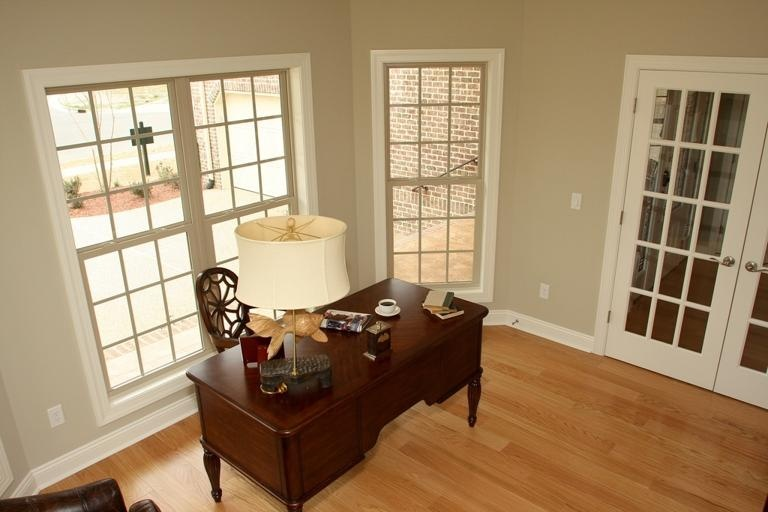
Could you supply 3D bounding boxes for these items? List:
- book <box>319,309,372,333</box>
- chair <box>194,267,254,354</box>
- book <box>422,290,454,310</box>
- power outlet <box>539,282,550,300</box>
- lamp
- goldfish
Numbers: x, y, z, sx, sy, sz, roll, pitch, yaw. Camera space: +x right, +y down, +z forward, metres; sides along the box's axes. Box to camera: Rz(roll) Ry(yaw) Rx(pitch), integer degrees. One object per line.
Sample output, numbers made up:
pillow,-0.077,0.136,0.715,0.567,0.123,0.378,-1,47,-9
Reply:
book,-0.295,0.494,4.139,0.251,0.057,0.187,6,21,17
chair,-1.353,0.455,4.819,0.547,0.898,0.502,18,23,30
book,0.434,0.349,4.332,0.166,0.033,0.156,7,34,24
power outlet,1.693,0.365,5.731,0.140,0.198,0.028,20,31,37
lamp,-0.564,0.277,3.626,0.925,1.065,0.870,7,18,23
goldfish,-0.576,0.511,3.562,0.564,0.337,0.260,-13,51,-24
